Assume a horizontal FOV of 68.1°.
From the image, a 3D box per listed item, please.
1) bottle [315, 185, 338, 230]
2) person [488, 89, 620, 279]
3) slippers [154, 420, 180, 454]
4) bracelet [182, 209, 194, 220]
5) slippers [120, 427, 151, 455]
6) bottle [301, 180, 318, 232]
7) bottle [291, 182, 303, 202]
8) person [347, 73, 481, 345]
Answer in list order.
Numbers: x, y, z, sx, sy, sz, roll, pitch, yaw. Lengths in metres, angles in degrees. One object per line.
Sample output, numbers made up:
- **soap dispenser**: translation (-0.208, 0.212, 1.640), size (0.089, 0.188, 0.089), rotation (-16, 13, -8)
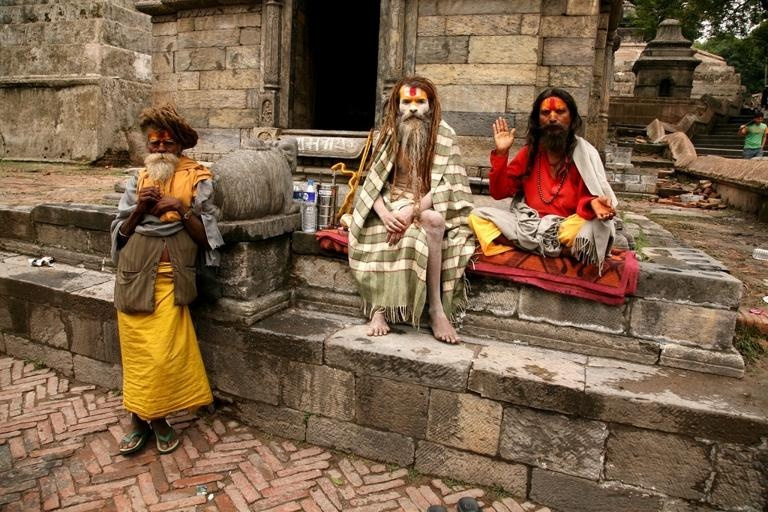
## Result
- **bottle**: translation (-0.562, -0.491, 5.604), size (0.212, 0.434, 0.174), rotation (-3, 17, -14)
- **person**: translation (1.482, -0.705, 4.961), size (1.137, 1.504, 0.654), rotation (7, 17, 19)
- **slippers**: translation (-1.890, 1.548, 4.913), size (0.169, 0.086, 0.377), rotation (-8, 25, -24)
- **bracelet**: translation (-1.650, -0.354, 4.761), size (0.041, 0.074, 0.087), rotation (37, -14, -26)
- **slippers**: translation (-2.132, 1.573, 4.844), size (0.127, 0.107, 0.291), rotation (4, 10, 20)
- **bottle**: translation (-0.729, -0.497, 5.551), size (0.158, 0.473, 0.328), rotation (0, 16, -8)
- **bottle**: translation (-0.846, -0.644, 5.646), size (0.113, 0.188, 0.189), rotation (-1, 16, -9)
- **person**: translation (0.285, -0.444, 5.051), size (1.111, 2.251, 0.979), rotation (7, 17, 17)
